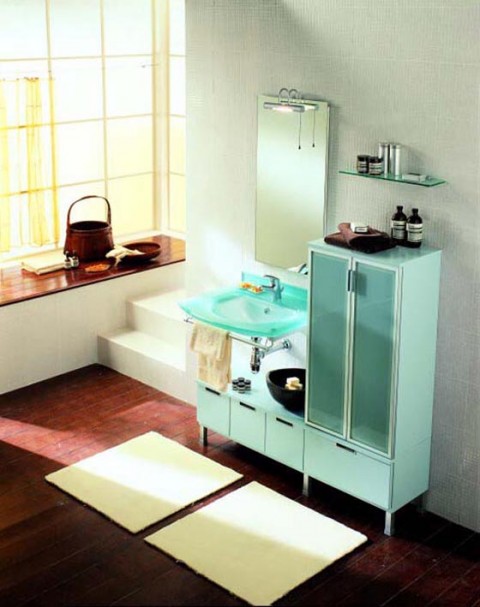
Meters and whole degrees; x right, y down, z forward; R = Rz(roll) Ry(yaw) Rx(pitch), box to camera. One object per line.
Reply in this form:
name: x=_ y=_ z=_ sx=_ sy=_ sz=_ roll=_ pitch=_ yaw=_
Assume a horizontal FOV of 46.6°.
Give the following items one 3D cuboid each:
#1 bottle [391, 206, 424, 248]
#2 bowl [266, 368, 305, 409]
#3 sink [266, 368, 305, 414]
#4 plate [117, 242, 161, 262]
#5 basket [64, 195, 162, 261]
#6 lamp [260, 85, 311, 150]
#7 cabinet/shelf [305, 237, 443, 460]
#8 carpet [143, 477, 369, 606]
bottle: x=0.728 y=-0.326 z=2.417 sx=0.151 sy=0.181 sz=0.078 roll=21 pitch=39 yaw=36
bowl: x=0.241 y=0.452 z=2.964 sx=0.209 sy=0.085 sz=0.201 roll=0 pitch=22 yaw=0
sink: x=0.239 y=0.451 z=2.969 sx=0.220 sy=0.090 sz=0.212 roll=-15 pitch=27 yaw=-34
plate: x=-0.884 y=-0.469 z=5.022 sx=0.261 sy=0.077 sz=0.254 roll=11 pitch=26 yaw=27
basket: x=-1.282 y=-0.629 z=4.934 sx=0.979 sy=0.602 sz=0.519 roll=-5 pitch=12 yaw=-34
lamp: x=0.299 y=-0.941 z=2.850 sx=0.157 sy=0.253 sz=0.256 roll=-21 pitch=30 yaw=-24
cabinet/shelf: x=0.555 y=0.206 z=2.443 sx=0.576 sy=0.898 sz=0.342 roll=5 pitch=13 yaw=17
carpet: x=0.074 y=1.040 z=2.498 sx=0.703 sy=0.045 sz=0.729 roll=12 pitch=16 yaw=43
